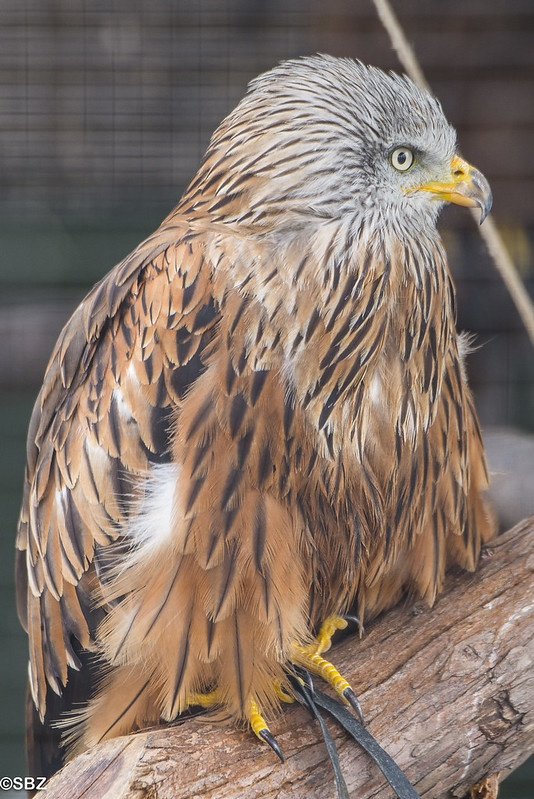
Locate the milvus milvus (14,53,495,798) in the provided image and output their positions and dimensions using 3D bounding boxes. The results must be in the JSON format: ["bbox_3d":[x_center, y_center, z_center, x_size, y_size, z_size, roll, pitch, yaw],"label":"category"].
[{"bbox_3d":[0.036,-0.014,2.163,0.589,0.961,0.665,2,5,-27],"label":"milvus milvus"}]
